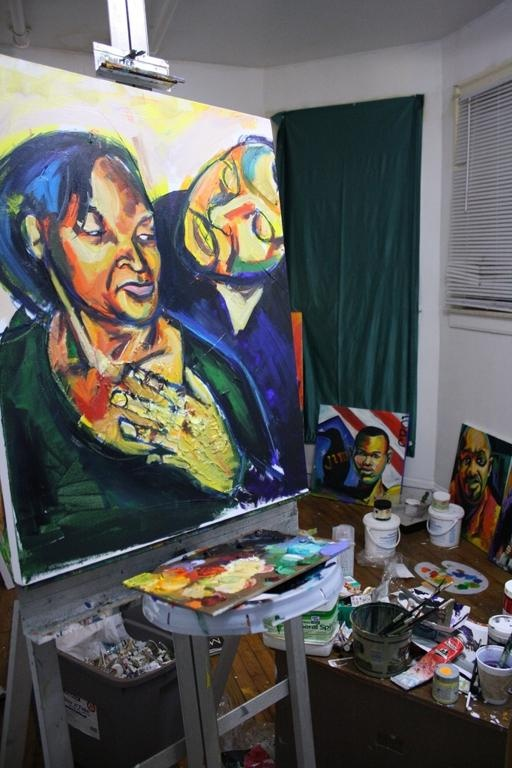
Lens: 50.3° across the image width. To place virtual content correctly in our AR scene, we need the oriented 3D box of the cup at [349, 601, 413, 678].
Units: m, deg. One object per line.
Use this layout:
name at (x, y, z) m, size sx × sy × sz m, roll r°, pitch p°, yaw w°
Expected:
cup at (0.301, 0.577, 1.299) m, size 0.143 × 0.131 × 0.144 m, roll -2°, pitch 25°, yaw 1°

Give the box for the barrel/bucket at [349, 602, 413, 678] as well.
barrel/bucket at (0.289, 0.604, 1.272) m, size 0.135 × 0.157 × 0.141 m, roll -2°, pitch 8°, yaw 0°

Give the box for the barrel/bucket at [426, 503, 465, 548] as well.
barrel/bucket at (0.980, 0.742, 2.888) m, size 0.192 × 0.208 × 0.191 m, roll 0°, pitch 5°, yaw 0°

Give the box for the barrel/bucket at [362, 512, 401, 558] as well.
barrel/bucket at (0.655, 0.771, 2.783) m, size 0.216 × 0.215 × 0.184 m, roll -3°, pitch 8°, yaw -7°
